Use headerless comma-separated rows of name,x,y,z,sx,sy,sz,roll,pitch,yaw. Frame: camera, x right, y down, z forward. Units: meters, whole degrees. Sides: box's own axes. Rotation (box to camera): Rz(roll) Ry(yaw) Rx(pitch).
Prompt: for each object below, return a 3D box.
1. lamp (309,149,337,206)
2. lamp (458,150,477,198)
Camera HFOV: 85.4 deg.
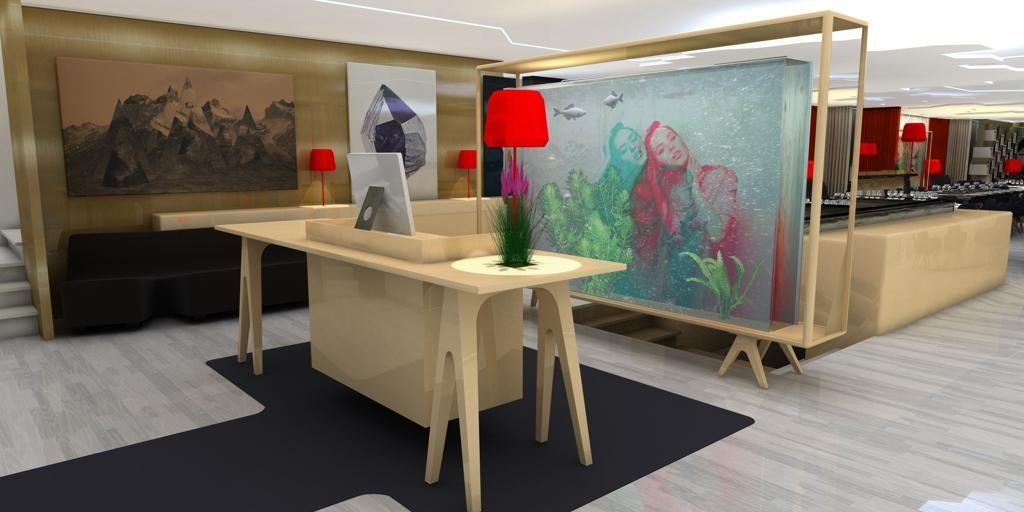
lamp,-3.411,-1.405,9.920,0.410,1.003,0.336,-9,16,-26
lamp,-0.949,-1.684,11.404,0.344,0.978,0.395,-3,15,-5
